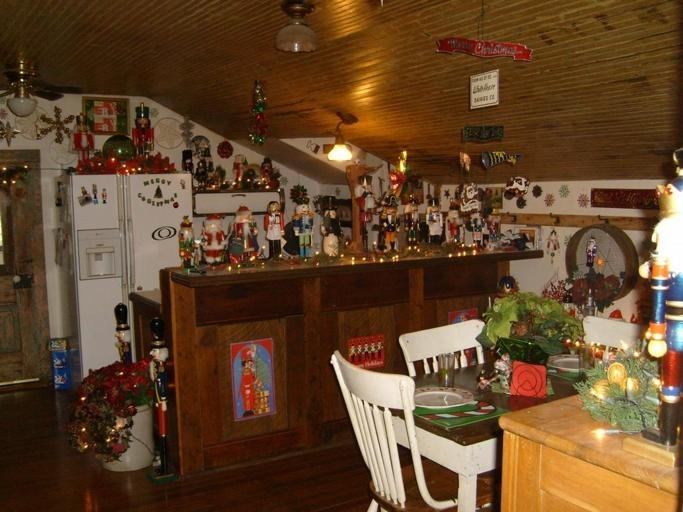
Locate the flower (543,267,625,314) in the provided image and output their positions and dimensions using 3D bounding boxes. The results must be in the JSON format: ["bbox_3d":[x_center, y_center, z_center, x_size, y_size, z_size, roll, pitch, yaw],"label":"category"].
[{"bbox_3d":[2.197,0.229,4.815,0.420,0.427,0.139,12,20,41],"label":"flower"}]

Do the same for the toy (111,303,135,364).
[{"bbox_3d":[-1.673,0.568,4.268,0.107,0.476,0.413,-4,8,-22],"label":"toy"}]

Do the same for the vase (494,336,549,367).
[{"bbox_3d":[0.887,0.458,2.719,0.177,0.058,0.166,34,-34,-18],"label":"vase"}]

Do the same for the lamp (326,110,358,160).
[{"bbox_3d":[0.001,-1.021,4.852,0.244,0.397,0.248,0,5,-23],"label":"lamp"}]

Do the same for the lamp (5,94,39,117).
[{"bbox_3d":[-2.499,-1.186,4.369,0.186,0.143,0.273,-5,8,-30],"label":"lamp"}]

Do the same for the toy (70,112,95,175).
[{"bbox_3d":[-2.904,-1.335,6.284,0.241,0.529,0.258,-5,8,-26],"label":"toy"}]

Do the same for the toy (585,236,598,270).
[{"bbox_3d":[2.112,-0.028,4.710,0.029,0.260,0.116,-4,7,-17],"label":"toy"}]
